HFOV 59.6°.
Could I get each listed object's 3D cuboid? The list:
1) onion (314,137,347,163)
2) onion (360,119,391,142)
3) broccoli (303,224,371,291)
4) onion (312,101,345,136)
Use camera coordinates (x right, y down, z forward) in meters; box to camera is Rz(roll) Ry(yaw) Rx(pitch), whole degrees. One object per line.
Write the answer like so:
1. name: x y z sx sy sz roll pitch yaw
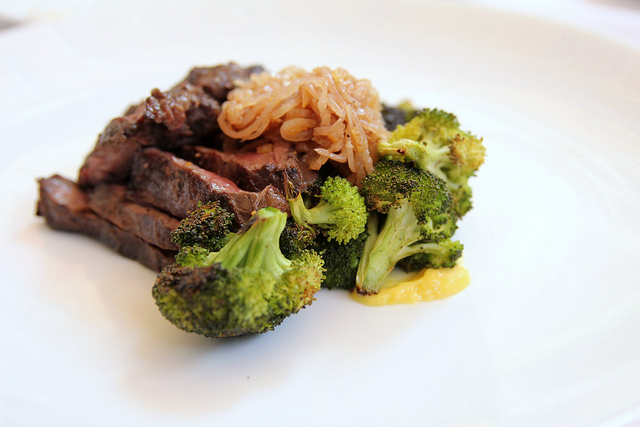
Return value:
1. onion: 0.075 -0.421 3.875 0.208 0.145 0.137 -6 62 -13
2. onion: 0.379 -0.583 3.959 0.253 0.059 0.068 13 35 -52
3. broccoli: 0.135 0.310 3.837 0.348 0.246 0.449 10 81 -7
4. onion: 0.043 -0.642 3.858 0.196 0.053 0.195 -26 65 15
